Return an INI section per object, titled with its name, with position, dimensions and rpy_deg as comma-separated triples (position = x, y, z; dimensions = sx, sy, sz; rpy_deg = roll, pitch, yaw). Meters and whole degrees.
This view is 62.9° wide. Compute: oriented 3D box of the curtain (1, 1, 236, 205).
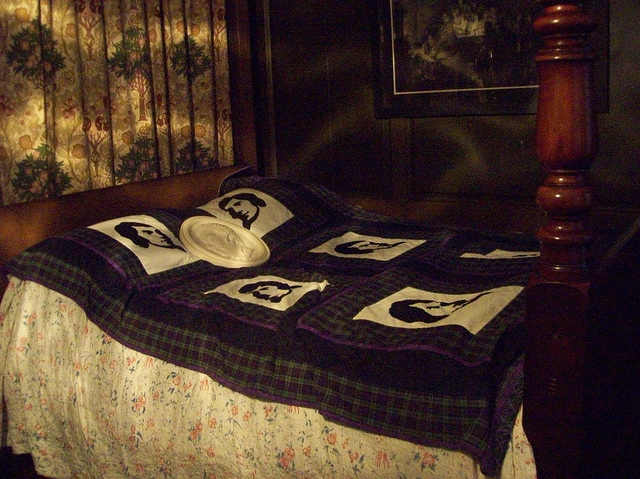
[curtain]
position = -0.960, -0.629, 2.422
dimensions = 0.010, 0.758, 1.026
rpy_deg = 8, 17, 34

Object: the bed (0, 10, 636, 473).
[bed]
position = -0.044, 0.162, 1.907
dimensions = 1.982, 1.455, 1.106
rpy_deg = 4, 9, 29

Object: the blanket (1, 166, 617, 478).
[blanket]
position = -0.081, 0.251, 1.794
dimensions = 1.270, 0.289, 1.183
rpy_deg = 8, 22, 26
